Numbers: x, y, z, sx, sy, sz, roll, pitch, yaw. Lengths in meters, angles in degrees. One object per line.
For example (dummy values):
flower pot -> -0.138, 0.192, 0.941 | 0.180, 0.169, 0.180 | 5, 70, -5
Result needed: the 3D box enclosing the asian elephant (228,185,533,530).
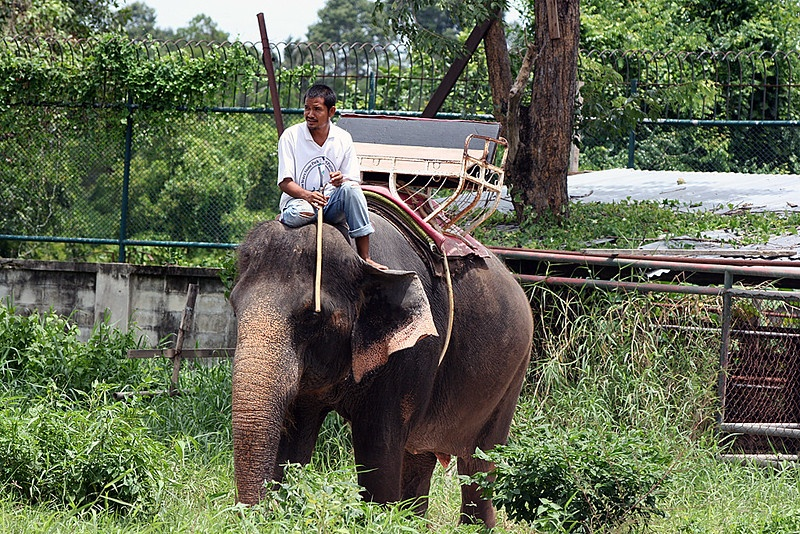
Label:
asian elephant -> -0.157, 0.958, 10.377 | 3.001, 2.736, 1.255 | 0, 0, -44
